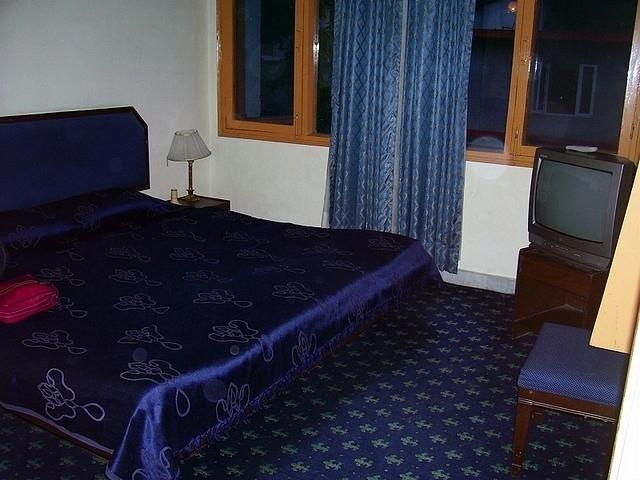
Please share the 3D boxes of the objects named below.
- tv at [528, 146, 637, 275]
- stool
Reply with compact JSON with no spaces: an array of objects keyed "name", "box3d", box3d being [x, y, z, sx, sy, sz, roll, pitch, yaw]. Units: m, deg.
[{"name":"tv","box3d":[2.054,-0.276,3.917,0.212,0.864,0.814,-7,19,-27]},{"name":"stool","box3d":[1.438,0.952,2.828,0.474,0.756,0.638,13,20,33]}]
